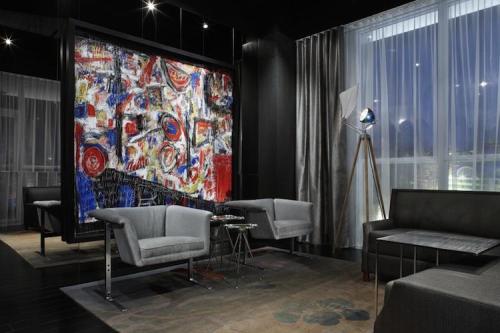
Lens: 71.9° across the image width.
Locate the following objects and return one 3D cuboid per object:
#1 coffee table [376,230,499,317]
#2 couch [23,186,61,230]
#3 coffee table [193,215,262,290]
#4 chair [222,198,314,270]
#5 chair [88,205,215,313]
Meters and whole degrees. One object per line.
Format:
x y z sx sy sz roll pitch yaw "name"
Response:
2.037 0.824 3.753 1.116 0.829 0.945 -4 3 -43 "coffee table"
-2.778 0.530 4.620 0.430 0.554 0.157 -4 8 -35 "couch"
-0.309 1.138 5.249 0.851 1.115 0.823 -1 1 -43 "coffee table"
0.267 0.998 5.330 0.955 0.952 1.149 -7 -9 44 "chair"
-1.247 0.910 4.399 1.386 1.130 1.047 6 -11 -42 "chair"
